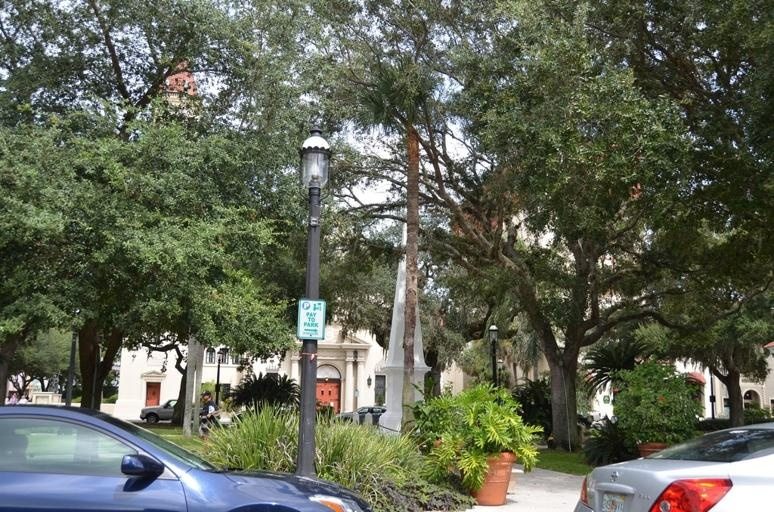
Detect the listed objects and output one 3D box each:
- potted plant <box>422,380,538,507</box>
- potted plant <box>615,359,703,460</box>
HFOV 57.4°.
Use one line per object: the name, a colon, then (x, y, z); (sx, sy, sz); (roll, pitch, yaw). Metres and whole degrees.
potted plant: (2.150, 4.450, 17.618); (2.684, 2.169, 2.666); (-1, -11, 14)
potted plant: (7.992, 4.315, 21.099); (2.803, 3.545, 2.494); (0, 0, 20)
